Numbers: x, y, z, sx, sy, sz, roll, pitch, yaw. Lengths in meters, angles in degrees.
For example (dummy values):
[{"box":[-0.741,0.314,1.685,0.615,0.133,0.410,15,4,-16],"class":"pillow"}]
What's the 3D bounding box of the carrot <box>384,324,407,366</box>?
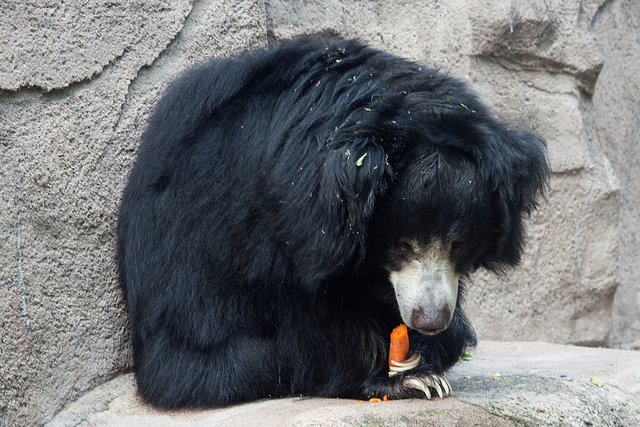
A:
[{"box":[0.453,0.785,6.575,0.110,0.310,0.084,-8,41,-18],"class":"carrot"}]
